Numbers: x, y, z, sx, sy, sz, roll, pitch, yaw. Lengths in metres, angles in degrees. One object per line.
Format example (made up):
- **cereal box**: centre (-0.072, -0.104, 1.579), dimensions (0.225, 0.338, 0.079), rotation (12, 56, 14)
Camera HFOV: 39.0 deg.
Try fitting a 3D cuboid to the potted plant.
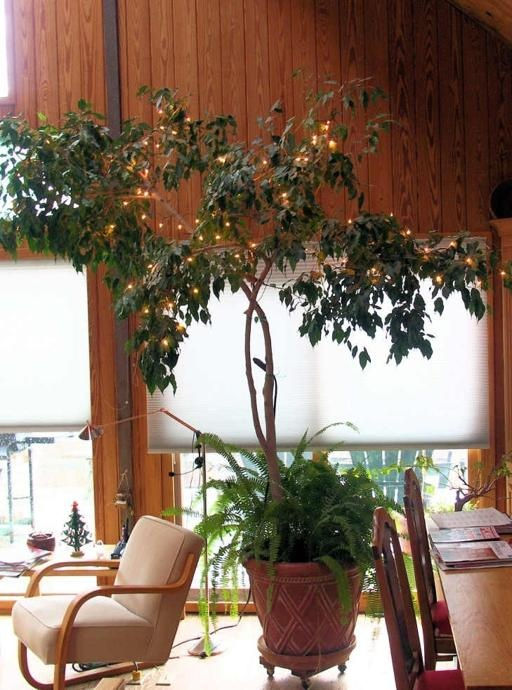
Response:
- **potted plant**: centre (0.186, 0.765, 3.176), dimensions (0.908, 1.250, 0.830), rotation (-3, 0, -45)
